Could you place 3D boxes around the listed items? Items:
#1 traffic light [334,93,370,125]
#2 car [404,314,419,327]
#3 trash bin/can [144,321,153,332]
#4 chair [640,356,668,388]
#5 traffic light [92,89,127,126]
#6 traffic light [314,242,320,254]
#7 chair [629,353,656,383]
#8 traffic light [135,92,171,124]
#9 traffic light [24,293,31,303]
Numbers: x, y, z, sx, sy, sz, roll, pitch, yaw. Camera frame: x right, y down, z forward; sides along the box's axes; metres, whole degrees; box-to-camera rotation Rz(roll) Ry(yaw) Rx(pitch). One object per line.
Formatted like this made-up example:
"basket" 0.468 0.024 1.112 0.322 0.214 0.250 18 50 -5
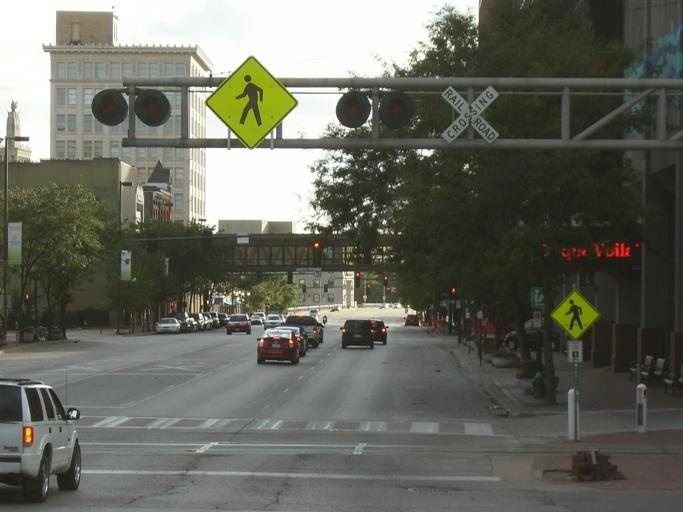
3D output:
"traffic light" 0.300 -3.735 27.783 0.855 0.821 0.649 -1 -3 -1
"car" 8.865 8.100 140.144 1.265 1.093 2.114 0 2 5
"trash bin/can" -18.751 6.706 106.350 0.750 0.830 0.422 0 1 12
"chair" 11.482 4.207 40.671 0.985 1.465 0.974 4 -6 -35
"traffic light" -5.947 -3.817 28.157 0.875 0.922 0.686 -1 -3 -10
"traffic light" -1.645 -0.575 70.729 0.516 1.041 0.526 -1 6 0
"chair" 11.449 4.214 41.891 1.016 1.491 0.996 2 -4 -23
"traffic light" -4.869 -3.848 28.182 0.905 0.979 0.544 -2 -3 5
"traffic light" -19.862 2.592 69.541 0.529 0.594 0.323 -8 -1 -2
